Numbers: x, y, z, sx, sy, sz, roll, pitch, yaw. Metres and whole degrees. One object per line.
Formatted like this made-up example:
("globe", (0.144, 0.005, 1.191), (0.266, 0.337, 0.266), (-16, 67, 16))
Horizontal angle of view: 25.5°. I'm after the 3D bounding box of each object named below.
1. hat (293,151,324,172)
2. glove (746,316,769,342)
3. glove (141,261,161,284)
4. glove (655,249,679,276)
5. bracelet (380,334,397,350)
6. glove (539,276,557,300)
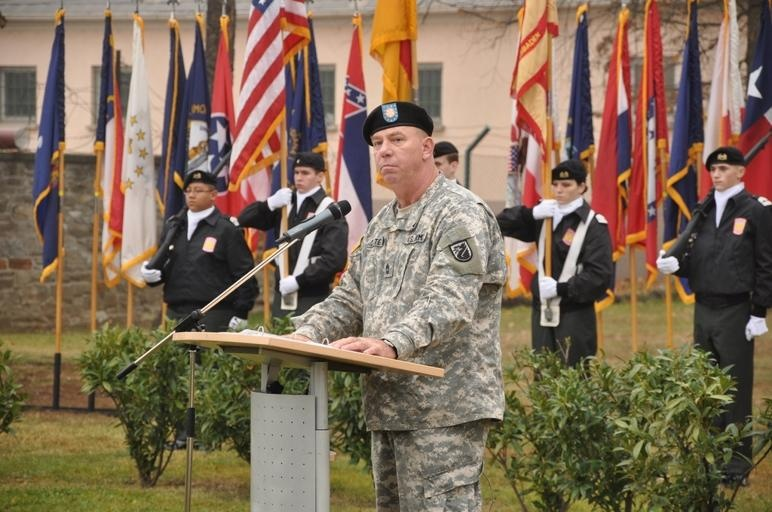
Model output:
("hat", (-0.975, -1.161, 21.305), (0.289, 0.154, 0.263), (17, 5, 36))
("glove", (4.329, 0.862, 20.016), (0.231, 0.279, 0.129), (14, -7, -16))
("glove", (-2.911, 0.212, 21.122), (0.277, 0.100, 0.207), (37, -27, -24))
("glove", (3.383, 0.100, 20.362), (0.302, 0.253, 0.234), (0, 0, -36))
("bracelet", (0.026, 0.859, 16.825), (0.063, 0.147, 0.139), (-35, -4, -10))
("glove", (1.944, 0.397, 20.445), (0.231, 0.269, 0.131), (2, -3, 4))
